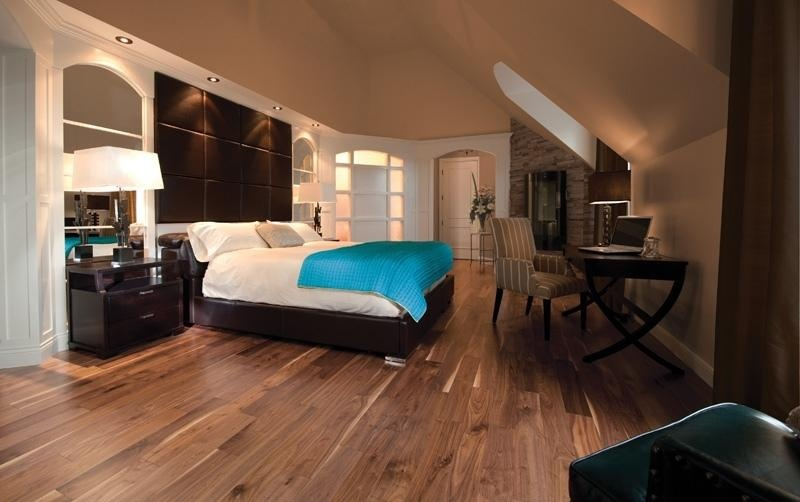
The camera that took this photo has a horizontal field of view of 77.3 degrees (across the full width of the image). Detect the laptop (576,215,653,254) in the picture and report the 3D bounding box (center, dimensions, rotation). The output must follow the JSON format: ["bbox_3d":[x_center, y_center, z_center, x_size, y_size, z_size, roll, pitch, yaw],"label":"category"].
[{"bbox_3d":[2.028,-0.148,4.648,0.429,0.305,0.499,-1,0,-10],"label":"laptop"}]

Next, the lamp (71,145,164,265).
[{"bbox_3d":[-2.699,-0.441,4.742,0.713,1.063,0.480,0,6,21],"label":"lamp"}]

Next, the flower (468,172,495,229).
[{"bbox_3d":[1.628,-0.956,9.916,0.451,1.054,0.897,-1,5,8],"label":"flower"}]

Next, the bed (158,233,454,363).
[{"bbox_3d":[-0.769,0.373,4.981,1.841,0.750,1.374,1,4,19],"label":"bed"}]

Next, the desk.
[{"bbox_3d":[1.972,0.347,4.568,0.903,1.006,1.503,0,2,14],"label":"desk"}]
